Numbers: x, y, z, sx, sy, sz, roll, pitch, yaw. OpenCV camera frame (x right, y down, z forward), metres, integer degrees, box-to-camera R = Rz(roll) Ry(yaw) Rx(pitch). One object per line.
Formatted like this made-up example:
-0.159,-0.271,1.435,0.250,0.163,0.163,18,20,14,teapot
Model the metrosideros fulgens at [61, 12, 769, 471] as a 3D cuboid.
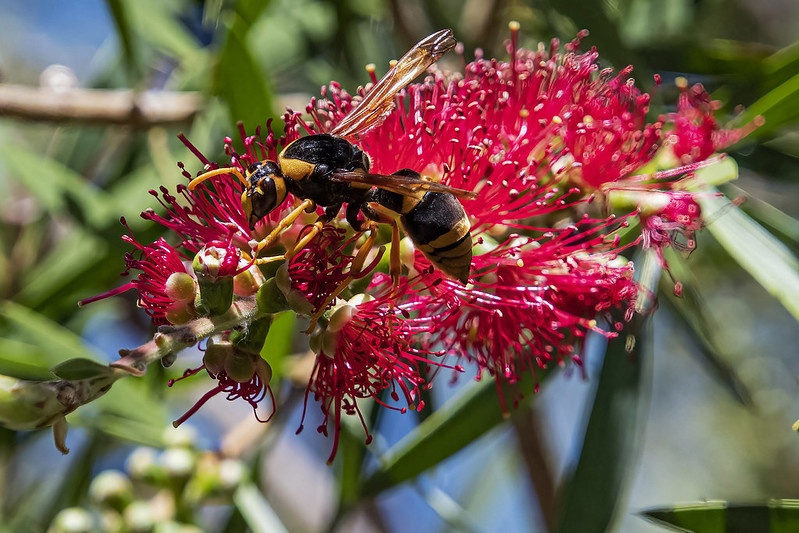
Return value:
0.069,-0.097,2.160,1.605,0.906,0.885,-20,43,-9,metrosideros fulgens
